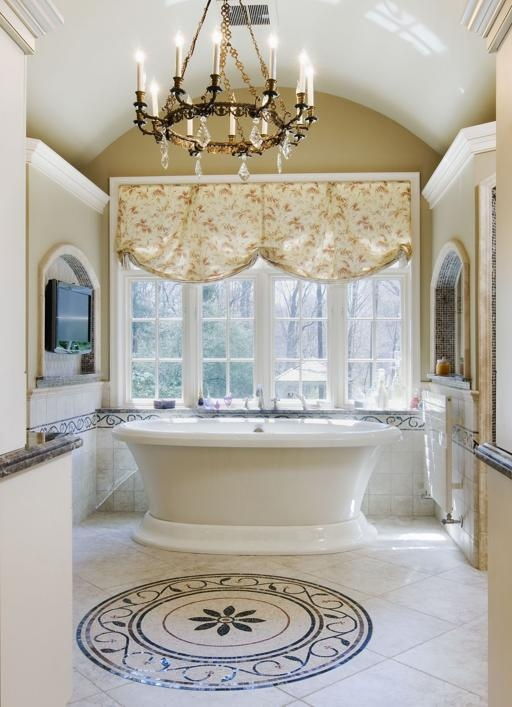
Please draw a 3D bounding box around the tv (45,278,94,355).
[{"bbox_3d":[-1.249,-0.246,4.036,0.099,0.491,0.687,-3,8,-41],"label":"tv"}]

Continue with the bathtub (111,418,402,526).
[{"bbox_3d":[0.006,0.775,3.762,1.774,0.611,1.014,0,-3,5],"label":"bathtub"}]

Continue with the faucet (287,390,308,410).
[{"bbox_3d":[0.330,0.390,4.622,0.163,0.146,0.317,0,-3,4],"label":"faucet"}]
